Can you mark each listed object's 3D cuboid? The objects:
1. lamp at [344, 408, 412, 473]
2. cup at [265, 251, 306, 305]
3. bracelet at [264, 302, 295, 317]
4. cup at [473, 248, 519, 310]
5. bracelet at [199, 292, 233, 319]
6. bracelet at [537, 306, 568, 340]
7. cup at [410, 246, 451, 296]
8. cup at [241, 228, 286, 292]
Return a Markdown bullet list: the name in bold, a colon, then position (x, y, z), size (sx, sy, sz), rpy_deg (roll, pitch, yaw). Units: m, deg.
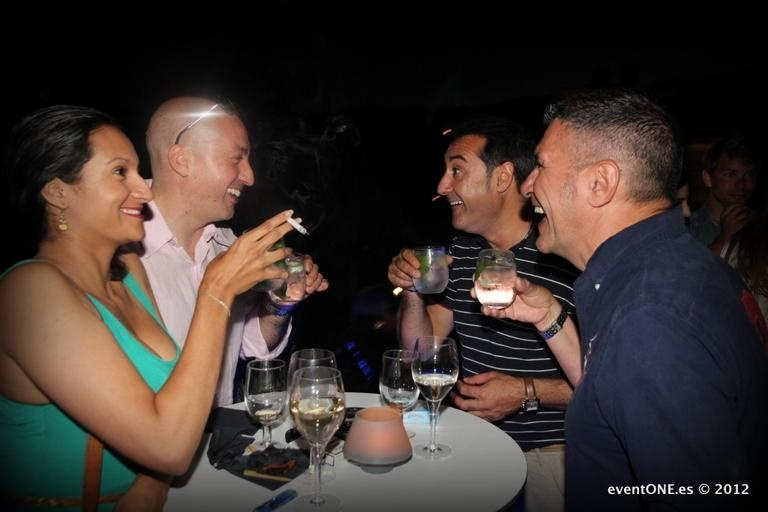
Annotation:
- **lamp**: position (-0.031, 0.778, 2.459), size (0.304, 0.169, 0.295), rpy_deg (0, 2, -36)
- **cup**: position (-0.519, 0.142, 3.083), size (0.227, 0.231, 0.238), rpy_deg (-1, -7, 0)
- **bracelet**: position (-0.646, 0.315, 3.414), size (0.157, 0.086, 0.115), rpy_deg (-10, 14, -21)
- **cup**: position (0.571, 0.109, 2.860), size (0.289, 0.341, 0.284), rpy_deg (0, 8, 0)
- **bracelet**: position (-0.736, 0.214, 2.474), size (0.104, 0.028, 0.107), rpy_deg (36, -9, -25)
- **bracelet**: position (0.911, 0.360, 2.988), size (0.060, 0.154, 0.161), rpy_deg (40, 51, 6)
- **cup**: position (0.261, 0.077, 3.247), size (0.216, 0.248, 0.268), rpy_deg (-2, -2, 2)
- **cup**: position (-0.564, 0.021, 2.771), size (0.238, 0.239, 0.248), rpy_deg (0, -21, 0)
